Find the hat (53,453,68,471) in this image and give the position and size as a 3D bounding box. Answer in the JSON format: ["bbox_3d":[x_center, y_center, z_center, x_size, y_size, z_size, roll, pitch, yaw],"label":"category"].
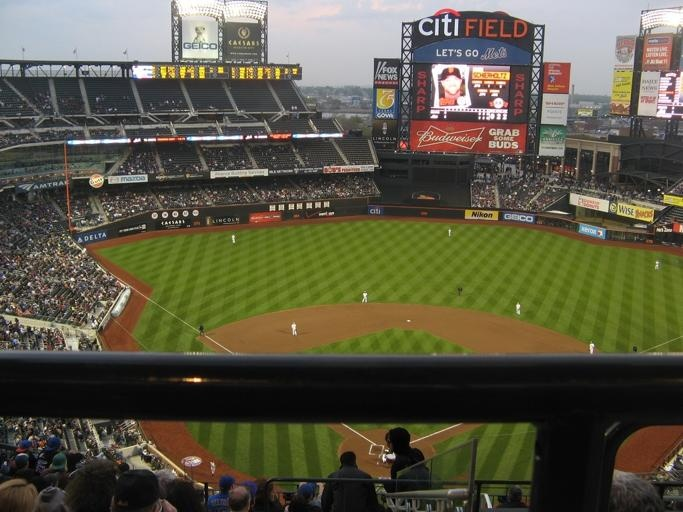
[{"bbox_3d":[-2.473,1.836,5.412,0.150,0.104,0.206,0,5,-21],"label":"hat"}]

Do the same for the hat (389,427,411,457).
[{"bbox_3d":[0.372,1.190,3.959,0.162,0.168,0.189,2,-3,1],"label":"hat"}]
